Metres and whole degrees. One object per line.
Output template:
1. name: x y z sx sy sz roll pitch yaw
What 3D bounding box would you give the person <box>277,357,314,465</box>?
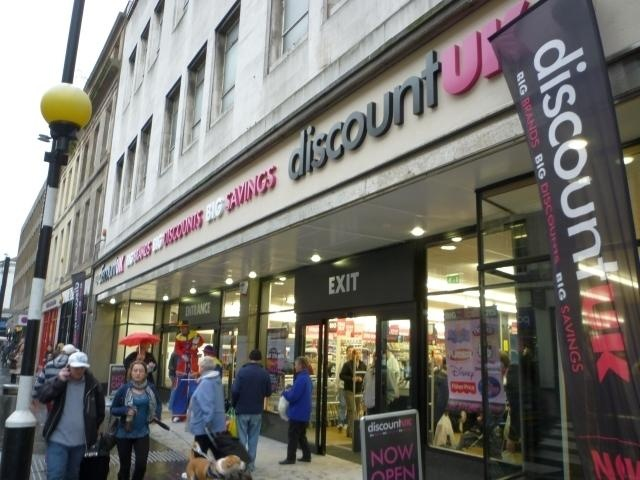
1. person: -0.439 3.154 9.057 0.529 1.893 0.630 2 -13 -2

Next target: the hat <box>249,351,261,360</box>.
1. hat: -1.169 2.105 8.821 0.153 0.205 0.197 6 2 -5

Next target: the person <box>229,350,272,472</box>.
1. person: -1.239 2.961 8.571 0.702 1.625 0.318 13 -17 -40

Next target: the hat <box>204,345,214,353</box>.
1. hat: -2.120 2.068 9.221 0.146 0.089 0.146 -5 -10 42

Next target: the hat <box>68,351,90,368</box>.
1. hat: -3.047 1.494 6.173 0.219 0.201 0.322 11 -16 -29

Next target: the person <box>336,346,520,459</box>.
1. person: 1.949 2.527 7.183 0.385 1.711 1.603 -1 -6 -39

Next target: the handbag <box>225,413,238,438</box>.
1. handbag: -1.569 3.182 8.520 0.190 0.377 0.361 10 -16 -31
